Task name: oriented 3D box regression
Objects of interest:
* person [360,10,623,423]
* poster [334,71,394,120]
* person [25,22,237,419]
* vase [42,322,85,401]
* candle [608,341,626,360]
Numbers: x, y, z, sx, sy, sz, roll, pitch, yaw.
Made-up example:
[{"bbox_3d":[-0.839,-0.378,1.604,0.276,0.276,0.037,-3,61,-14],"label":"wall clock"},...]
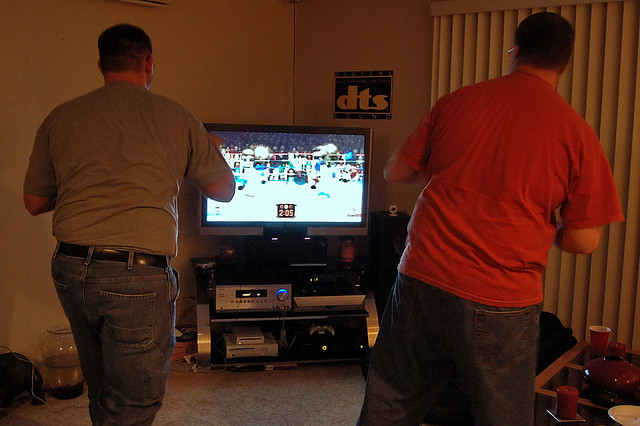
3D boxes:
[{"bbox_3d":[0.733,0.034,2.669,1.050,1.800,0.472,1,7,21],"label":"person"},{"bbox_3d":[0.353,-0.925,4.734,0.416,0.297,0.005,2,3,19],"label":"poster"},{"bbox_3d":[-0.913,0.034,2.935,0.935,1.866,0.402,-4,7,-17],"label":"person"},{"bbox_3d":[-1.689,0.987,3.963,0.282,0.451,0.277,-5,-4,-7],"label":"vase"},{"bbox_3d":[1.467,0.689,3.036,0.073,0.068,0.141,1,7,25],"label":"candle"}]
